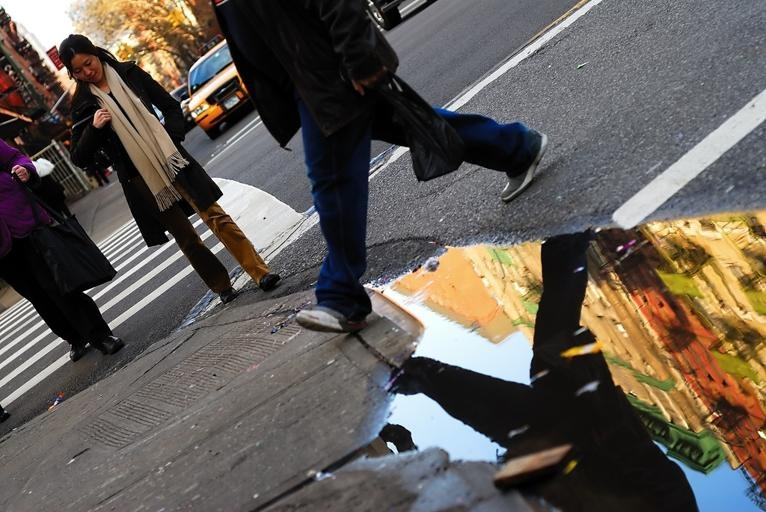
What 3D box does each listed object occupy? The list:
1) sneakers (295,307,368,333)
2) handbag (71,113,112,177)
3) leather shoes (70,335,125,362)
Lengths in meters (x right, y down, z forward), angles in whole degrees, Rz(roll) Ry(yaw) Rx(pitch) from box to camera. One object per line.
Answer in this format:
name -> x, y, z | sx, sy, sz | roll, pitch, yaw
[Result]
sneakers -> -0.332, 0.450, 3.979 | 0.180, 0.449, 0.189 | -35, 45, 44
handbag -> -2.480, -0.968, 5.221 | 0.153, 0.457, 0.347 | -3, 41, -12
leather shoes -> -2.950, 0.951, 6.226 | 0.433, 0.179, 0.148 | -19, 34, 25
